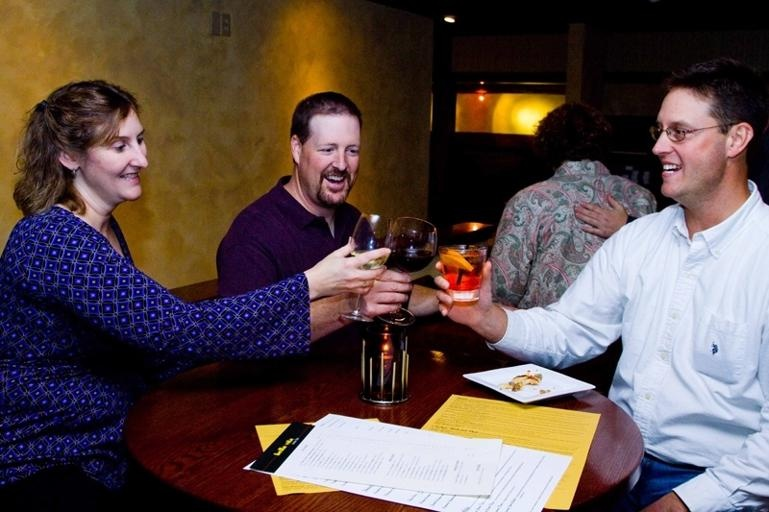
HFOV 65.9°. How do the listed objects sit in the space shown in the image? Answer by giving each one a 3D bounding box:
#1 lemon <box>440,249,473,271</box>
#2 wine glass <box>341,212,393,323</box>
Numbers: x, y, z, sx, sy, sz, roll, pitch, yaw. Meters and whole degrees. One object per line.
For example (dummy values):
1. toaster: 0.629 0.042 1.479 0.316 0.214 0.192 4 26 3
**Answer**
1. lemon: 0.222 0.009 1.841 0.106 0.074 0.044 2 13 19
2. wine glass: -0.071 0.036 1.971 0.135 0.364 0.200 -9 14 -29
